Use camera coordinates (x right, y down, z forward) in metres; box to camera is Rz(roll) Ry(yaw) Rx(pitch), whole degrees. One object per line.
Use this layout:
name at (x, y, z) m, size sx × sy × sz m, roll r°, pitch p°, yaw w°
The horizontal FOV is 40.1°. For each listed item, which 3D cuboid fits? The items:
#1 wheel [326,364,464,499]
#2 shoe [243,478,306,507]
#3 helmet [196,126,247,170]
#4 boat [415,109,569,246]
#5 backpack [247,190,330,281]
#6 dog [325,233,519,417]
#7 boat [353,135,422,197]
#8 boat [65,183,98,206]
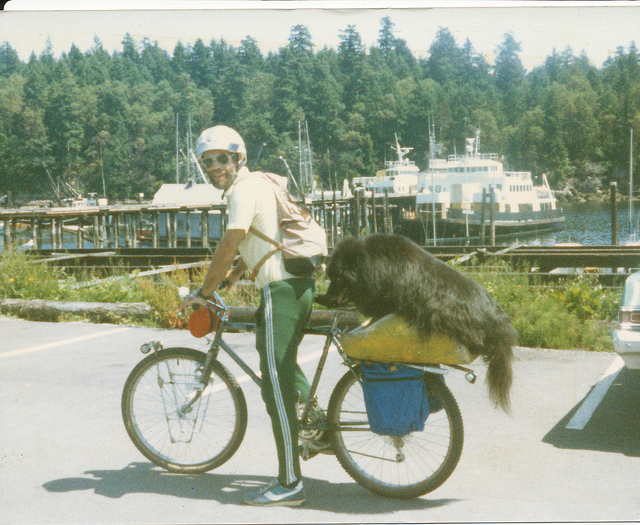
wheel at (0.584, 1.321, 6.778) m, size 0.929 × 1.040 × 0.133 m, roll -3°, pitch 7°, yaw 15°
shoe at (-0.321, 1.790, 6.805) m, size 0.512 × 0.248 × 0.189 m, roll 3°, pitch -7°, yaw 0°
helmet at (-0.715, -0.969, 7.045) m, size 0.407 × 0.363 × 0.325 m, roll 15°, pitch 2°, yaw 9°
boat at (8.946, -4.002, 50.316) m, size 4.442 × 6.905 × 15.303 m, roll 3°, pitch 7°, yaw 33°
backpack at (-0.160, -0.211, 7.035) m, size 0.638 × 0.841 × 0.451 m, roll 5°, pitch 11°, yaw 11°
dog at (0.654, 0.511, 6.833) m, size 1.912 × 1.182 × 0.862 m, roll 12°, pitch -33°, yaw -15°
boat at (5.609, -6.507, 64.148) m, size 2.722 × 5.540 × 9.443 m, roll -2°, pitch 3°, yaw -16°
boat at (-20.676, -5.806, 76.031) m, size 2.454 × 1.026 × 7.636 m, roll -5°, pitch 14°, yaw -14°
